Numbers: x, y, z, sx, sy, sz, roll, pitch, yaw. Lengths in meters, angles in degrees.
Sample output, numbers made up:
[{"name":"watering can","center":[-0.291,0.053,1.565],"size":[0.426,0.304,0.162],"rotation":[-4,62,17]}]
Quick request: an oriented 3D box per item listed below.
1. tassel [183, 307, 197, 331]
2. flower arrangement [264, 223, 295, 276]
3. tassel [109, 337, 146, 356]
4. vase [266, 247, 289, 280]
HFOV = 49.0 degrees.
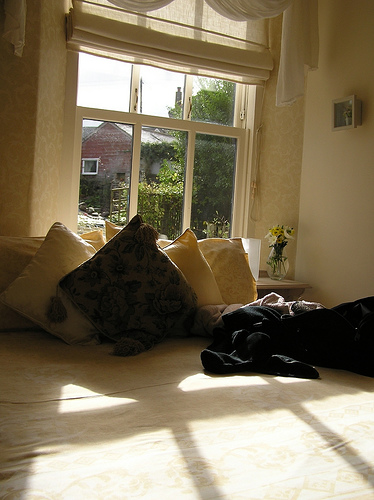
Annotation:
[{"name":"tassel","center":[0.008,0.315,1.831],"size":[0.053,0.080,0.032],"rotation":[3,-2,-3]},{"name":"flower arrangement","center":[0.734,-0.008,3.302],"size":[0.228,0.435,0.337],"rotation":[2,-2,13]},{"name":"tassel","center":[-0.210,0.334,1.465],"size":[0.069,0.029,0.071],"rotation":[2,8,20]},{"name":"vase","center":[0.709,0.095,3.262],"size":[0.199,0.276,0.178],"rotation":[2,11,15]}]
